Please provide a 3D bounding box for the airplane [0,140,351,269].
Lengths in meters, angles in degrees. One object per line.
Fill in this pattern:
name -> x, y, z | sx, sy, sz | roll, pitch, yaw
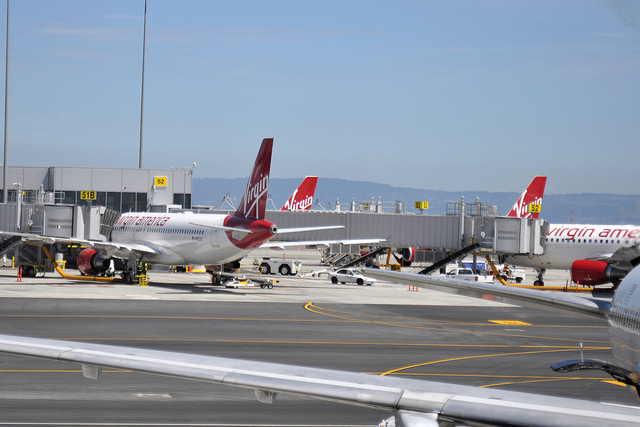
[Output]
airplane -> -9.573, -0.552, 75.347 | 6.856, 8.680, 14.324 | -5, 7, -43

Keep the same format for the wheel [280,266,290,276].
wheel -> -2.771, 4.632, 92.745 | 0.986, 0.770, 0.285 | 1, 1, 1

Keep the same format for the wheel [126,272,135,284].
wheel -> -12.743, 4.377, 77.557 | 0.336, 0.698, 0.795 | -3, -11, -32

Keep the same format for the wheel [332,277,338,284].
wheel -> 1.134, 4.996, 85.025 | 0.159, 0.366, 0.398 | -4, -24, -26

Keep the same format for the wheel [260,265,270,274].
wheel -> -4.400, 4.517, 92.418 | 0.969, 0.756, 0.288 | 0, 4, 0

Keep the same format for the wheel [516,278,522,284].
wheel -> 16.200, 5.531, 93.432 | 0.437, 0.336, 0.096 | -4, -10, 20

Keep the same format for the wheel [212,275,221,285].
wheel -> -7.042, 4.590, 78.695 | 0.306, 0.617, 0.716 | 6, -12, -34
